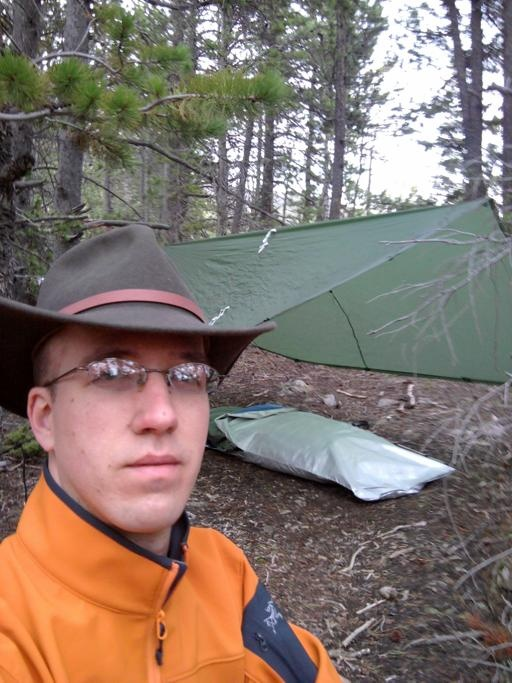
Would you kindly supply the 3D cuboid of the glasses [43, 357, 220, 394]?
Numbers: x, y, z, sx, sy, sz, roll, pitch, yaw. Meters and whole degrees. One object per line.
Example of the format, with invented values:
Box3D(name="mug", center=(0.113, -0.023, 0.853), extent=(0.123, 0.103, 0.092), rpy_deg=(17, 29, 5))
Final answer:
Box3D(name="glasses", center=(-0.261, 0.071, 1.267), extent=(0.349, 0.077, 0.115), rpy_deg=(1, 4, -18))
